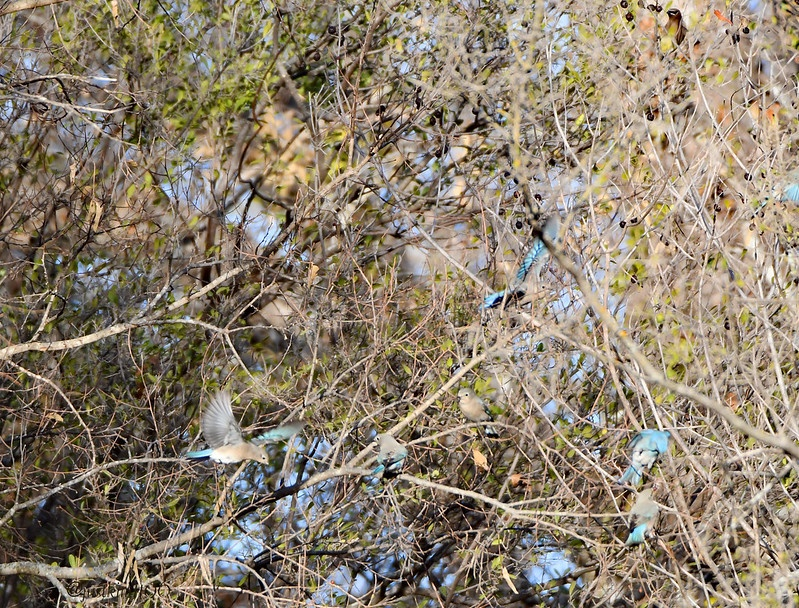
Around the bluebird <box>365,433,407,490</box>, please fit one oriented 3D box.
[{"bbox_3d":[-0.073,1.265,11.268,0.417,0.234,0.325,-23,109,-28],"label":"bluebird"}]

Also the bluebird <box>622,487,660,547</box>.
[{"bbox_3d":[1.976,1.720,10.930,0.395,0.201,0.412,1,74,-40],"label":"bluebird"}]

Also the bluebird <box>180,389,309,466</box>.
[{"bbox_3d":[-1.492,1.186,11.523,0.623,0.875,0.491,15,92,2],"label":"bluebird"}]

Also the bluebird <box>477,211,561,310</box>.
[{"bbox_3d":[1.071,-0.377,11.868,0.388,1.064,0.200,-33,77,-19],"label":"bluebird"}]
